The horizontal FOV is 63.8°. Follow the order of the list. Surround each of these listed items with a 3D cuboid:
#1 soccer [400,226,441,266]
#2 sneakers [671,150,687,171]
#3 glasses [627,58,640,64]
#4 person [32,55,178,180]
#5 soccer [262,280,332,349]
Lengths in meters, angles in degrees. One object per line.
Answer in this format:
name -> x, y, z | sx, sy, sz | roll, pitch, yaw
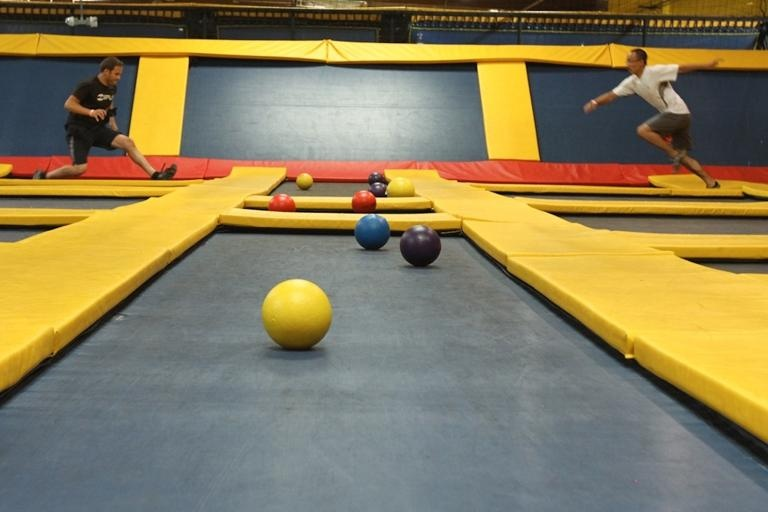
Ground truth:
soccer -> 0.172, -0.044, 2.925 | 0.185, 0.198, 0.129 | -2, 14, -12
sneakers -> 3.304, -1.014, 6.903 | 0.147, 0.328, 0.120 | 3, 21, 16
glasses -> 2.720, -2.113, 6.713 | 0.084, 0.033, 0.071 | 1, 3, 3
person -> -2.998, -1.448, 6.619 | 1.601, 1.254, 0.739 | 0, 10, -8
soccer -> -0.265, 0.175, 1.998 | 0.215, 0.206, 0.206 | 3, 1, 10
